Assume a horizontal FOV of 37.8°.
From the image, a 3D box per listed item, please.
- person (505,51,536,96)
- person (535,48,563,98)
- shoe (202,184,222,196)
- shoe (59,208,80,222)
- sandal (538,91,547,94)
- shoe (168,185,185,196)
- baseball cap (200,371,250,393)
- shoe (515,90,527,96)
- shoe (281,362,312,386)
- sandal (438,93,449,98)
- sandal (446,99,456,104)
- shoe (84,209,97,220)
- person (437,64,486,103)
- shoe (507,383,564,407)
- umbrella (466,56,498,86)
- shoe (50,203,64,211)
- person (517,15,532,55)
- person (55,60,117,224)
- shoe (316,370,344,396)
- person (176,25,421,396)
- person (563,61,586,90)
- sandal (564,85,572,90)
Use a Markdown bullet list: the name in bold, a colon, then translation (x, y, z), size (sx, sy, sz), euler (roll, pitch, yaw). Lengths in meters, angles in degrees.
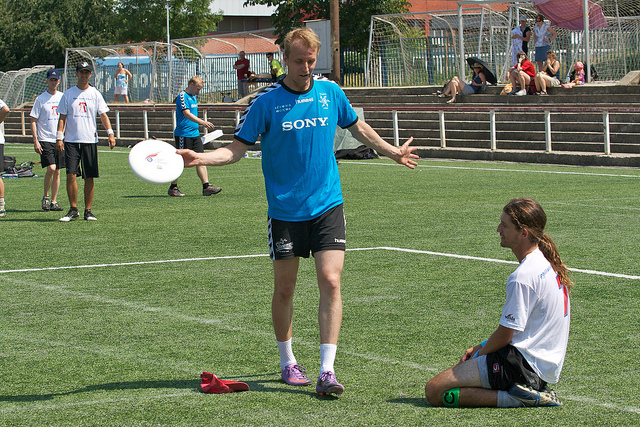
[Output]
- **person**: translation (5.799, -4.112, 27.221), size (0.761, 1.267, 1.436), euler (2, 12, 12)
- **person**: translation (6.565, -4.142, 27.191), size (0.778, 1.361, 1.885), euler (2, 12, 14)
- **shoe**: translation (-2.122, -0.462, 18.210), size (0.337, 0.187, 0.301), euler (-3, 12, -13)
- **shoe**: translation (-4.032, 0.020, 15.041), size (0.308, 0.177, 0.346), euler (-4, 12, -15)
- **sandal**: translation (6.270, -3.467, 26.781), size (0.263, 0.042, 0.202), euler (4, 12, 22)
- **shoe**: translation (-2.806, -0.457, 18.193), size (0.363, 0.179, 0.305), euler (0, 12, 5)
- **baseball cap**: translation (-0.821, 1.393, 7.728), size (0.266, 0.095, 0.198), euler (2, -4, -16)
- **shoe**: translation (5.711, -3.502, 26.977), size (0.120, 0.111, 0.290), euler (-4, 6, -36)
- **shoe**: translation (-0.210, 1.356, 7.910), size (0.247, 0.169, 0.193), euler (-2, 12, -7)
- **sandal**: translation (3.822, -3.757, 29.596), size (0.453, 0.157, 0.171), euler (10, 16, 42)
- **sandal**: translation (4.001, -3.471, 28.913), size (0.389, 0.143, 0.113), euler (2, 0, 20)
- **shoe**: translation (-3.691, 0.011, 15.042), size (0.194, 0.169, 0.221), euler (-3, 12, -13)
- **person**: translation (4.364, -4.157, 29.344), size (1.503, 1.216, 0.641), euler (5, 13, 4)
- **shoe**: translation (1.641, 1.437, 7.319), size (0.500, 0.180, 0.157), euler (0, 8, -9)
- **umbrella**: translation (5.081, -4.520, 29.542), size (0.748, 0.817, 1.253), euler (-5, 12, -18)
- **shoe**: translation (-4.604, -0.130, 16.383), size (0.229, 0.154, 0.350), euler (-4, 12, -15)
- **person**: translation (5.877, -5.203, 27.399), size (0.357, 0.983, 0.856), euler (2, 12, 10)
- **person**: translation (-3.804, -1.154, 15.022), size (0.881, 2.529, 0.942), euler (-2, 12, -6)
- **shoe**: translation (0.067, 1.399, 7.595), size (0.224, 0.200, 0.162), euler (0, 12, 1)
- **person**: translation (-0.194, -0.056, 7.864), size (1.531, 2.954, 0.953), euler (-3, 12, -11)
- **person**: translation (7.289, -4.036, 27.141), size (0.602, 0.714, 1.756), euler (3, 12, 15)
- **sandal**: translation (6.937, -3.579, 26.470), size (0.215, 0.086, 0.037), euler (7, 15, 34)
